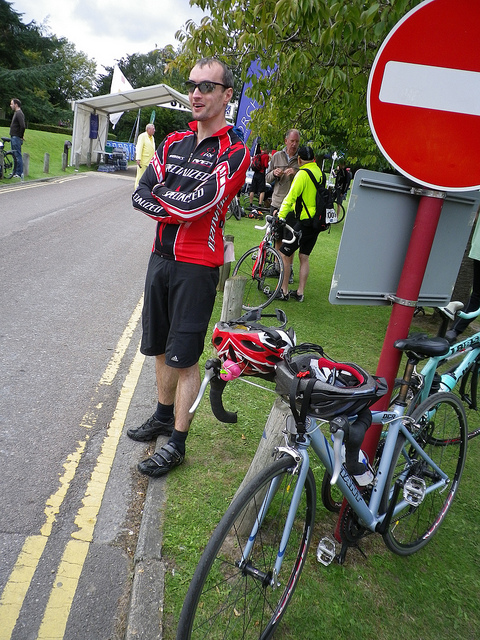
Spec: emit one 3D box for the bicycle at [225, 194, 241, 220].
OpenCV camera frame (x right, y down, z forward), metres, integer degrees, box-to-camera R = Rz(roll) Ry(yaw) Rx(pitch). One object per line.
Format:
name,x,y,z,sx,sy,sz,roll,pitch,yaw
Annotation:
bicycle,-0.194,-4.033,15.374,0.496,0.834,1.040,8,13,9

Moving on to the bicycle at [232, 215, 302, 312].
bicycle,0.473,-1.078,7.375,0.986,1.481,1.741,7,13,-1
